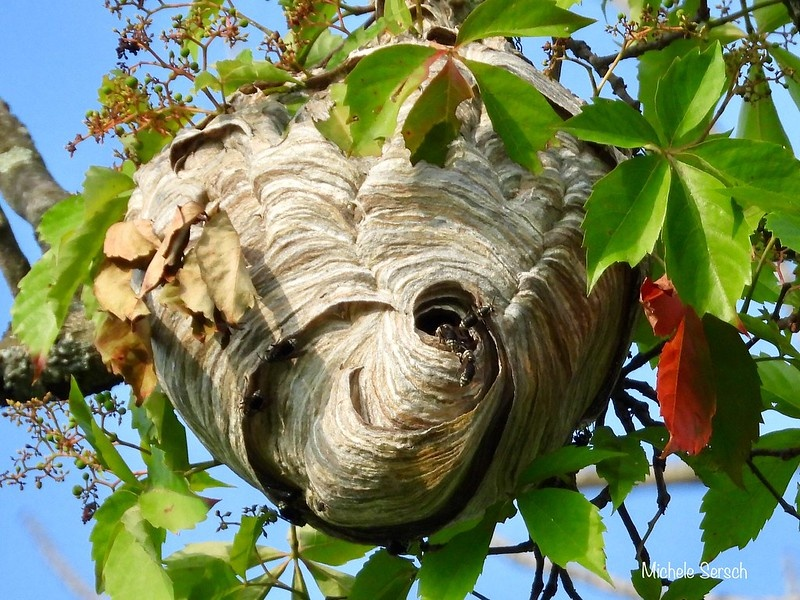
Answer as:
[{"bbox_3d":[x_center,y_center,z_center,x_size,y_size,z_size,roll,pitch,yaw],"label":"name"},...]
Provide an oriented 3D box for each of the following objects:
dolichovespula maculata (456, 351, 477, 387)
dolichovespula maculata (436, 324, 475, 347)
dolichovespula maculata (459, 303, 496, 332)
[{"bbox_3d":[0.219,0.239,4.513,0.028,0.098,0.072,3,-10,33],"label":"dolichovespula maculata"},{"bbox_3d":[0.179,0.110,4.575,0.090,0.044,0.080,13,12,5],"label":"dolichovespula maculata"},{"bbox_3d":[0.260,0.065,4.598,0.104,0.066,0.036,-31,12,-12],"label":"dolichovespula maculata"}]
